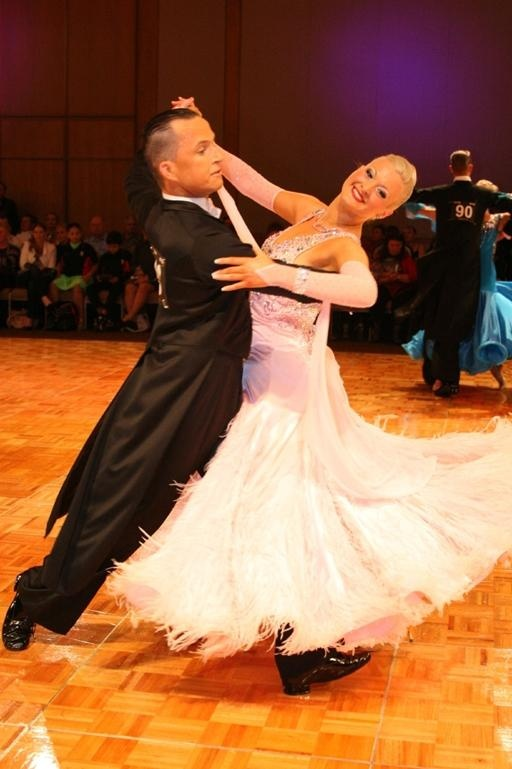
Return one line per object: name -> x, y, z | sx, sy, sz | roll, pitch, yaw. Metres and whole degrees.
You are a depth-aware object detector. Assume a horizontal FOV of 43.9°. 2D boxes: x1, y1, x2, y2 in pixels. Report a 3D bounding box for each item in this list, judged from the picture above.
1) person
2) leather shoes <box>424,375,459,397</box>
person -> 0.077, -0.008, 1.395 | 1.042, 1.167, 0.589 | 2, 0, -23
leather shoes -> 1.516, 0.008, 5.359 | 0.129, 0.101, 0.323 | -13, 15, -14
